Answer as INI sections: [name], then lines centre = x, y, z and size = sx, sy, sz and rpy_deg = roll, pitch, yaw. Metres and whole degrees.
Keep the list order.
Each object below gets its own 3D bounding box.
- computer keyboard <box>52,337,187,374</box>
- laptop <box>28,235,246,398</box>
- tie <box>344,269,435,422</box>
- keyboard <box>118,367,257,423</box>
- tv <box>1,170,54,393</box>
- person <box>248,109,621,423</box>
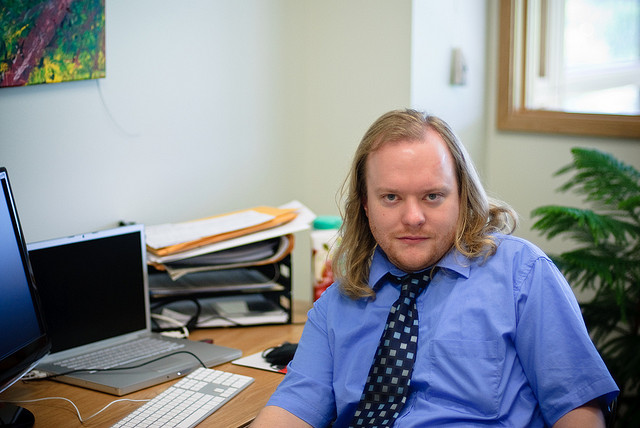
[computer keyboard]
centre = -0.607, 0.440, 1.604
size = 0.397, 0.035, 0.217
rpy_deg = -2, 16, -44
[laptop]
centre = -0.555, 0.276, 1.579
size = 0.584, 0.333, 0.528
rpy_deg = 2, 5, -38
[tie]
centre = 0.190, 0.333, 1.355
size = 0.126, 0.344, 0.246
rpy_deg = 4, 13, 31
[keyboard]
centre = -0.343, 0.494, 1.417
size = 0.198, 0.044, 0.300
rpy_deg = 2, 11, 27
[tv]
centre = -0.777, 0.162, 1.345
size = 0.080, 0.531, 0.181
rpy_deg = -6, 12, -11
[person]
centre = 0.319, 0.140, 1.699
size = 1.039, 0.939, 0.844
rpy_deg = -12, -14, 38
